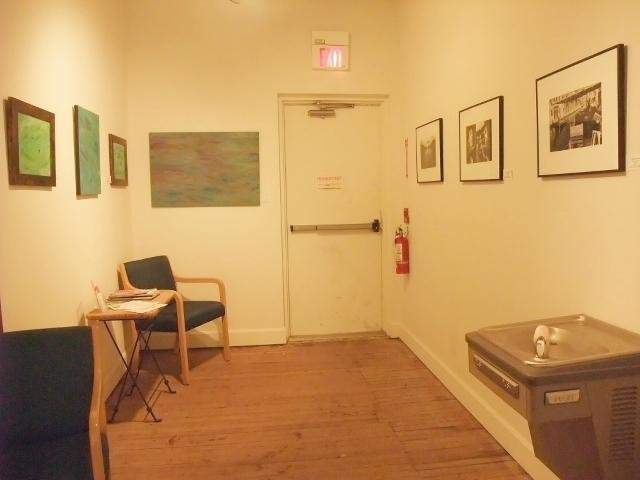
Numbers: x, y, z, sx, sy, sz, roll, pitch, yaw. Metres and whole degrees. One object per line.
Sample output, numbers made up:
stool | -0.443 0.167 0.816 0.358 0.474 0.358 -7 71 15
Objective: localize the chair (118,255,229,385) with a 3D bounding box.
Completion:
chair | -1.305 0.718 4.444 0.733 0.992 0.806 1 4 10

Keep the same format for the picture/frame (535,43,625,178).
picture/frame | 1.366 -0.656 2.515 0.108 0.627 0.563 -4 11 -14

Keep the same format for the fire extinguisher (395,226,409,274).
fire extinguisher | 0.824 0.115 4.807 0.149 0.448 0.260 1 11 9

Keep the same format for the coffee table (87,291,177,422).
coffee table | -1.461 0.943 3.871 0.492 0.868 0.860 -1 2 -6
